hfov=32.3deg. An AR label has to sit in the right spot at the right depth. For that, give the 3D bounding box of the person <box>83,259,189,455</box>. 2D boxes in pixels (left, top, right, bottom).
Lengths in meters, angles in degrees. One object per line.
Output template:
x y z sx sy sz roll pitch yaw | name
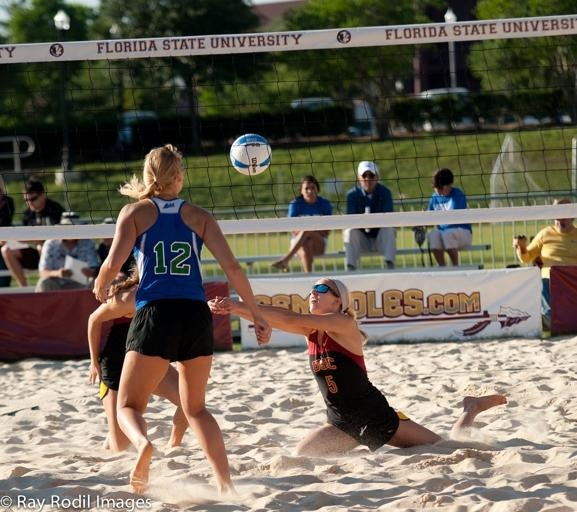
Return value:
-1.210 0.780 7.603 0.548 1.380 0.777 -1 0 41 | person

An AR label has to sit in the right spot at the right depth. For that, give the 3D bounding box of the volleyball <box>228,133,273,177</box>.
-0.337 -0.875 8.994 0.382 0.369 0.358 4 -35 -4 | volleyball

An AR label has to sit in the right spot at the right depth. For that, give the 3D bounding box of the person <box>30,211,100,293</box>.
-2.386 0.010 10.780 0.461 0.906 0.607 12 10 39 | person

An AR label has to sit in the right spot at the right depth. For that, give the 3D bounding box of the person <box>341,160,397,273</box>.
0.920 -0.409 11.230 0.579 1.274 0.748 -1 13 5 | person
